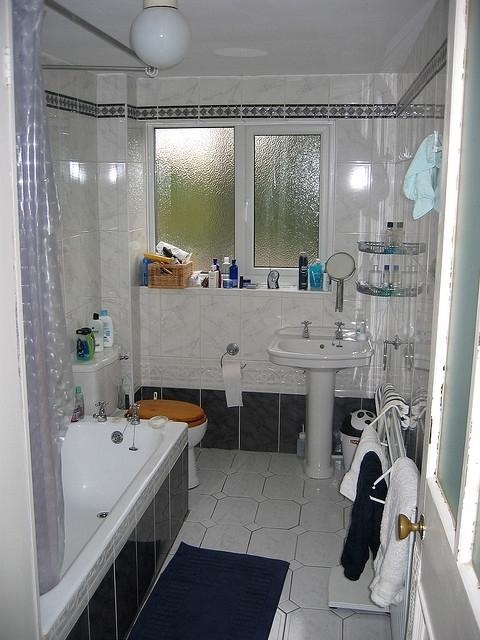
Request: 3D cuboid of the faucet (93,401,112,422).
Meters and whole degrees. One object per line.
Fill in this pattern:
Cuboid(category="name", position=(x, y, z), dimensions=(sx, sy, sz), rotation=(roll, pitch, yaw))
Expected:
Cuboid(category="faucet", position=(-0.929, 0.600, 3.034), dimensions=(0.095, 0.192, 0.152), rotation=(2, 9, -2))

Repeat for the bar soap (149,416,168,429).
Cuboid(category="bar soap", position=(-0.519, 0.634, 2.862), dimensions=(0.064, 0.032, 0.074), rotation=(-4, 28, -8))

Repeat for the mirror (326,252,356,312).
Cuboid(category="mirror", position=(0.733, -0.277, 3.370), dimensions=(0.222, 0.524, 0.119), rotation=(0, -28, 16))

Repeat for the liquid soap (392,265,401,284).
Cuboid(category="liquid soap", position=(0.920, -0.270, 2.700), dimensions=(0.025, 0.117, 0.285), rotation=(3, 10, 15))

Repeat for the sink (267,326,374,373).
Cuboid(category="sink", position=(0.607, 0.255, 3.505), dimensions=(0.816, 0.286, 0.902), rotation=(2, 8, 28))

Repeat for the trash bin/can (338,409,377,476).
Cuboid(category="trash bin/can", position=(0.796, 0.917, 3.416), dimensions=(0.208, 0.360, 0.218), rotation=(13, -8, -26))

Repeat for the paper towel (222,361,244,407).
Cuboid(category="paper towel", position=(-0.066, 0.544, 3.693), dimensions=(0.158, 0.425, 0.258), rotation=(0, 9, -1))

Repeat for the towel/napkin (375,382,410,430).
Cuboid(category="towel/napkin", position=(0.827, 0.436, 2.515), dimensions=(0.127, 0.140, 0.282), rotation=(-3, 10, 6))

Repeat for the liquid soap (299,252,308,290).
Cuboid(category="liquid soap", position=(0.498, -0.389, 3.621), dimensions=(0.074, 0.289, 0.044), rotation=(1, 8, 7))

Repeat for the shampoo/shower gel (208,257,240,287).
Cuboid(category="shampoo/shower gel", position=(-0.141, -0.397, 3.756), dimensions=(0.255, 0.240, 0.170), rotation=(-1, 9, -6))

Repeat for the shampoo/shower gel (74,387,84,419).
Cuboid(category="shampoo/shower gel", position=(-1.065, 0.533, 3.007), dimensions=(0.054, 0.179, 0.250), rotation=(-3, 10, -18))

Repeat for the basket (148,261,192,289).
Cuboid(category="basket", position=(-0.576, -0.365, 3.721), dimensions=(0.359, 0.215, 0.180), rotation=(-1, 9, -9))
